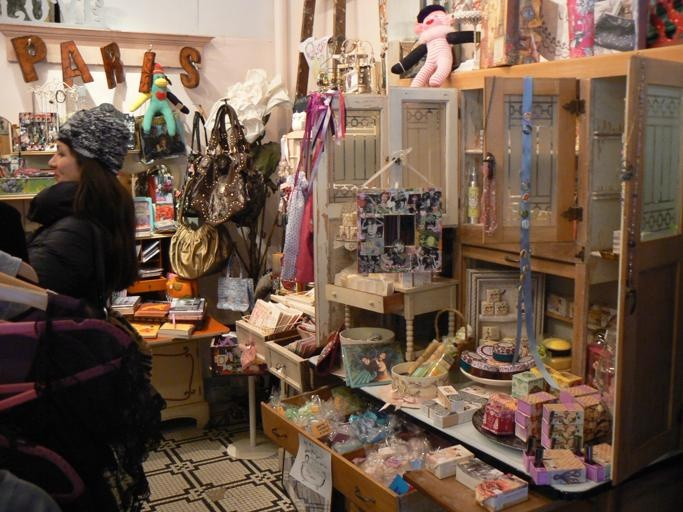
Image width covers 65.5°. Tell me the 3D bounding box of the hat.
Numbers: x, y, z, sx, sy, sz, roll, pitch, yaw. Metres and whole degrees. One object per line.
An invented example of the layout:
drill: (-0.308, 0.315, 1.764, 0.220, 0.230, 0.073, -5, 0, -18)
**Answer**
hat: (-0.868, -0.468, 2.034, 0.291, 0.272, 0.226, 14, 15, -17)

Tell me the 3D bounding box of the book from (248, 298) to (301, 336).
book: (-0.424, 0.370, 3.286, 0.254, 0.088, 0.198, 1, 4, -40)

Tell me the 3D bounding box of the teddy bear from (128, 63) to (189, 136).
teddy bear: (-1.429, -1.262, 4.203, 0.430, 0.545, 0.186, -3, -2, -21)

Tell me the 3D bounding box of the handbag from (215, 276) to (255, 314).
handbag: (-0.850, 0.299, 4.275, 0.322, 0.321, 0.122, 1, -1, 8)

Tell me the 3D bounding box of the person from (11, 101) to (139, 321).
person: (-0.907, -0.149, 1.854, 0.376, 0.779, 0.522, -6, 12, -20)
